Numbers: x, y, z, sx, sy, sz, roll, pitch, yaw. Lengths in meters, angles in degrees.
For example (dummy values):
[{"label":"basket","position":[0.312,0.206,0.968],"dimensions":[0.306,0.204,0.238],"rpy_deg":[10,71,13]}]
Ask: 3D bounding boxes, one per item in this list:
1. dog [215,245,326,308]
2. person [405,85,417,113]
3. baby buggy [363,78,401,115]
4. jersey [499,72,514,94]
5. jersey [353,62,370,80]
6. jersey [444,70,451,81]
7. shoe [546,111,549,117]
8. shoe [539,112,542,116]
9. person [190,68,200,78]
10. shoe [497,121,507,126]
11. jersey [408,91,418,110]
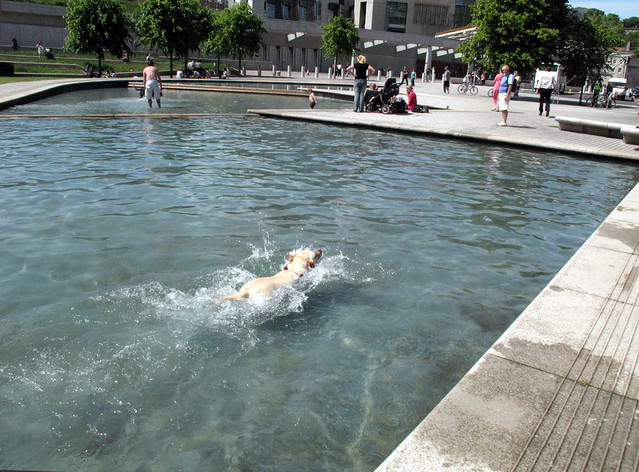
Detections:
[{"label":"dog","position":[-0.528,0.492,5.129],"dimensions":[0.430,0.385,1.334],"rpy_deg":[19,27,39]},{"label":"person","position":[4.422,-6.669,21.445],"dimensions":[0.511,1.182,1.756],"rpy_deg":[5,20,10]},{"label":"baby buggy","position":[2.691,-6.501,20.688],"dimensions":[1.622,1.466,1.027],"rpy_deg":[7,16,25]},{"label":"jersey","position":[6.619,-5.446,15.765],"dimensions":[0.380,0.705,0.325],"rpy_deg":[5,20,10]},{"label":"jersey","position":[1.714,-7.188,19.033],"dimensions":[0.750,0.811,0.480],"rpy_deg":[-3,63,2]},{"label":"jersey","position":[9.920,-12.668,34.784],"dimensions":[0.332,0.792,0.870],"rpy_deg":[5,20,11]},{"label":"shoe","position":[10.959,-5.931,21.424],"dimensions":[0.097,0.286,0.420],"rpy_deg":[10,22,25]},{"label":"shoe","position":[10.970,-6.122,22.111],"dimensions":[0.046,0.138,0.138],"rpy_deg":[6,10,13]},{"label":"person","position":[-12.876,-16.904,45.689],"dimensions":[0.830,0.887,1.489],"rpy_deg":[-4,21,-15]},{"label":"shoe","position":[7.099,-4.446,17.378],"dimensions":[0.376,0.175,0.648],"rpy_deg":[12,23,25]},{"label":"jersey","position":[4.446,-6.582,21.472],"dimensions":[0.323,0.785,0.544],"rpy_deg":[11,22,26]}]
